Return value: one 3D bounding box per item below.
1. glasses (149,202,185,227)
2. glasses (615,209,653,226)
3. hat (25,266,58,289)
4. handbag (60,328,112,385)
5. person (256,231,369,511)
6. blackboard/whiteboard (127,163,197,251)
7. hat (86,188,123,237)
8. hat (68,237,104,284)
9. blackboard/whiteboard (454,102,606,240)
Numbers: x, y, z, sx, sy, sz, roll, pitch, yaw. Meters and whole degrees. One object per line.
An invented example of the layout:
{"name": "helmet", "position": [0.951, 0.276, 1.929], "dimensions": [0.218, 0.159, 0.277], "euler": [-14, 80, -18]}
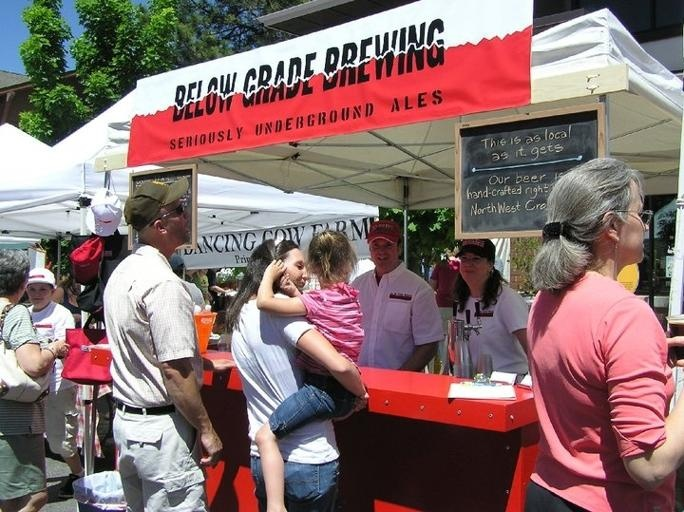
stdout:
{"name": "glasses", "position": [-0.966, -0.217, 3.584], "dimensions": [0.121, 0.041, 0.128], "euler": [-19, 15, 19]}
{"name": "glasses", "position": [1.171, -0.162, 2.543], "dimensions": [0.118, 0.039, 0.120], "euler": [3, -3, 32]}
{"name": "hat", "position": [-2.979, 0.215, 6.328], "dimensions": [0.241, 0.207, 0.342], "euler": [-2, -22, -13]}
{"name": "handbag", "position": [-2.001, 0.739, 4.956], "dimensions": [0.114, 0.367, 0.332], "euler": [2, -2, 32]}
{"name": "person", "position": [-0.160, 0.560, 3.282], "dimensions": [0.553, 1.418, 0.310], "euler": [0, -4, -10]}
{"name": "blackboard/whiteboard", "position": [-1.499, -0.410, 5.321], "dimensions": [0.844, 0.678, 0.033], "euler": [2, 0, 36]}
{"name": "hat", "position": [-2.032, -0.419, 5.509], "dimensions": [0.290, 0.186, 0.479], "euler": [12, 38, -14]}
{"name": "hat", "position": [-2.116, 0.083, 5.355], "dimensions": [0.309, 0.422, 0.279], "euler": [-14, -10, 39]}
{"name": "blackboard/whiteboard", "position": [1.012, -0.463, 3.428], "dimensions": [0.762, 0.660, 0.036], "euler": [0, -2, 36]}
